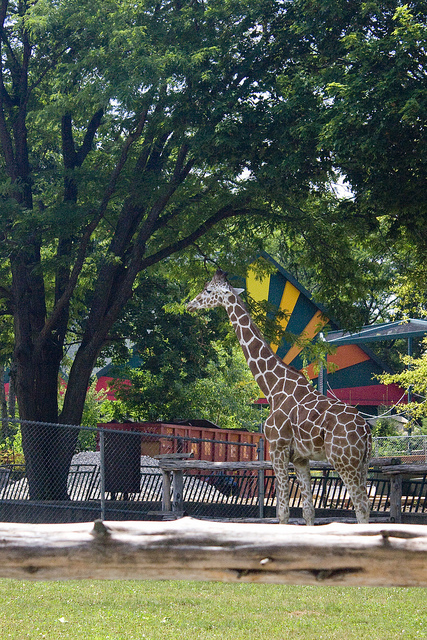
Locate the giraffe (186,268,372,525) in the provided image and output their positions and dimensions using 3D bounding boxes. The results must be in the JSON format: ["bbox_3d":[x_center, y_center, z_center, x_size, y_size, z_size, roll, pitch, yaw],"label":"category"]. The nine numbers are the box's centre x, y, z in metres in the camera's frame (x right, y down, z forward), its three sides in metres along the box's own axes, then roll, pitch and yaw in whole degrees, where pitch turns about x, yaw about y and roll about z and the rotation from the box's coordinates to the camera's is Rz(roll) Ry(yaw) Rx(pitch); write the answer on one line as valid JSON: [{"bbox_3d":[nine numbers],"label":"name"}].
[{"bbox_3d":[1.147,1.400,22.825,1.087,3.084,3.644,-1,5,-22],"label":"giraffe"}]
